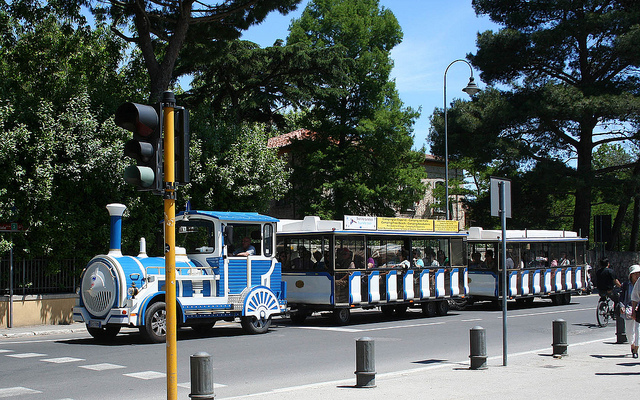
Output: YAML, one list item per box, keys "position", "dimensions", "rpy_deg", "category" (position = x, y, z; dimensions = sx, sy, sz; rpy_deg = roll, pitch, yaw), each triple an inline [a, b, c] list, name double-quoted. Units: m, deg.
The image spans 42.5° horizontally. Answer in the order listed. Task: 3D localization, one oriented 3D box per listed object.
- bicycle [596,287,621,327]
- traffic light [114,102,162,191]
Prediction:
- position: [11.803, 4.558, 33.911]
  dimensions: [0.548, 1.314, 1.340]
  rpy_deg: [-5, -7, 33]
  category: "bicycle"
- position: [-4.673, -1.410, 21.766]
  dimensions: [1.144, 2.396, 0.344]
  rpy_deg: [-3, -5, 7]
  category: "traffic light"
